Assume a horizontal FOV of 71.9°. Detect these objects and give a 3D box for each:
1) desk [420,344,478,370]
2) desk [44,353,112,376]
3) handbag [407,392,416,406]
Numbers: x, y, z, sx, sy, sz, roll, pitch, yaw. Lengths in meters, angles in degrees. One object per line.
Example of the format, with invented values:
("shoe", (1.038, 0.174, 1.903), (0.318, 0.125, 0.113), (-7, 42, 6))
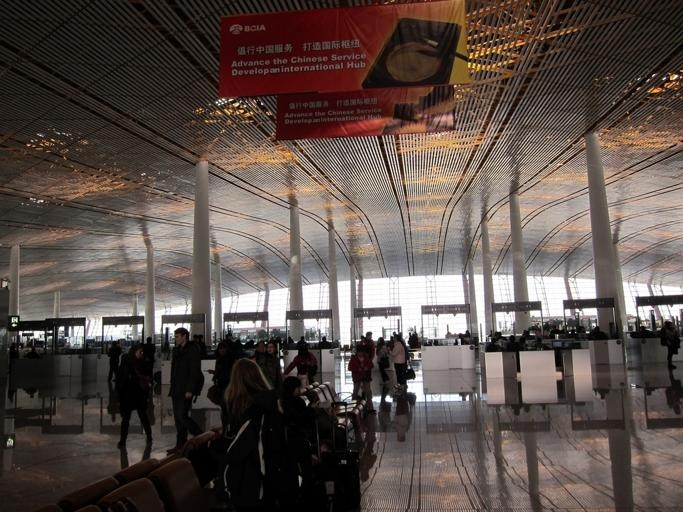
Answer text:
("desk", (5.111, 4.745, 22.391), (2.455, 0.904, 1.261), (1, 1, 7))
("desk", (-12.293, 4.966, 21.623), (2.393, 0.671, 0.611), (0, -4, 6))
("handbag", (1.908, 3.780, 12.530), (0.416, 0.324, 0.351), (-1, -11, 4))
